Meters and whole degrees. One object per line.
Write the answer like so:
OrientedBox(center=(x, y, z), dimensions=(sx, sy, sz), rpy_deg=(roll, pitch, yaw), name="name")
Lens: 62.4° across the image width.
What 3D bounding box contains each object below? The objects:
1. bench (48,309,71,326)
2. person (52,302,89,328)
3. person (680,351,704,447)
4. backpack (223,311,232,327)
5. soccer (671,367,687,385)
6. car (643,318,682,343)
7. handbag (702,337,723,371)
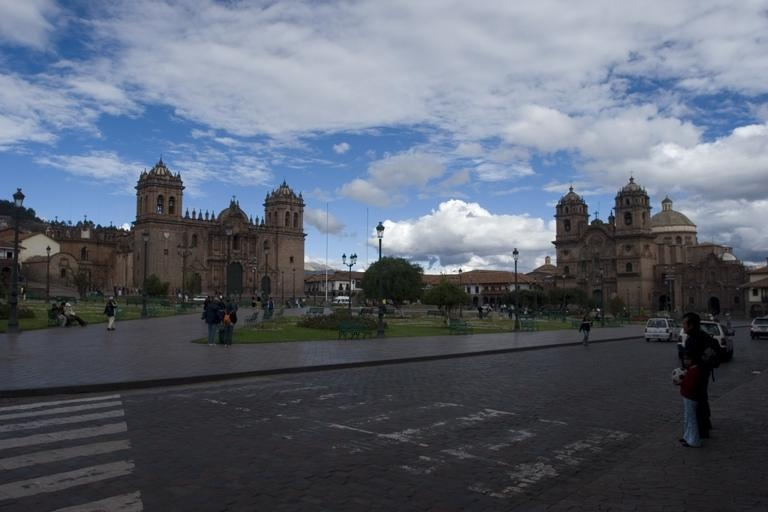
OrientedBox(center=(-16.566, 3.192, 32.452), dimensions=(0.965, 0.862, 0.525), rpy_deg=(-5, -7, 23), name="bench")
OrientedBox(center=(-16.905, 3.098, 32.905), dimensions=(2.316, 1.157, 1.162), rpy_deg=(0, 1, 4), name="person")
OrientedBox(center=(5.915, 2.804, 12.334), dimensions=(0.387, 1.764, 0.418), rpy_deg=(4, -9, -42), name="person")
OrientedBox(center=(-5.968, 2.461, 24.320), dimensions=(0.388, 0.452, 0.487), rpy_deg=(-1, 3, 3), name="backpack")
OrientedBox(center=(5.855, 2.398, 12.670), dimensions=(0.345, 0.337, 0.314), rpy_deg=(14, -7, 17), name="soccer")
OrientedBox(center=(15.814, 4.173, 36.181), dimensions=(1.307, 0.942, 2.308), rpy_deg=(-1, 1, 38), name="car")
OrientedBox(center=(6.515, 1.923, 12.562), dimensions=(0.243, 0.655, 0.439), rpy_deg=(-7, 11, -35), name="handbag")
